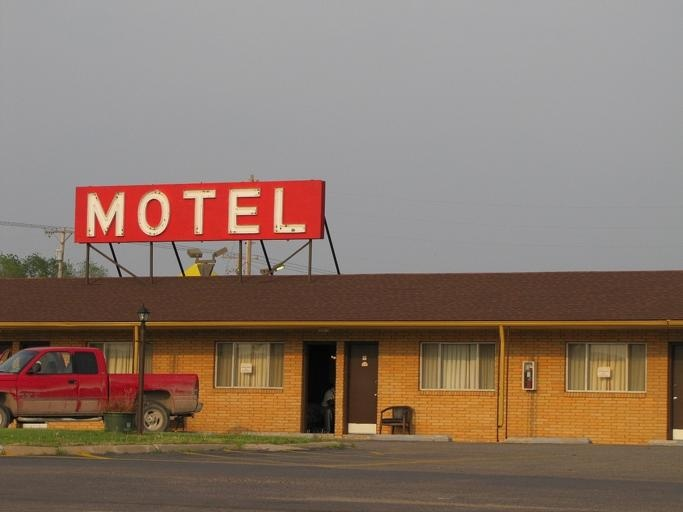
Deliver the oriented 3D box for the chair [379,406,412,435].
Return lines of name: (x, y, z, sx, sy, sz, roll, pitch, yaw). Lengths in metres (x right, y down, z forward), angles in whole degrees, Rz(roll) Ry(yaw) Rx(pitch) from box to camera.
chair: (1.579, 4.755, 45.669, 0.919, 0.965, 0.824, -3, -11, 19)
